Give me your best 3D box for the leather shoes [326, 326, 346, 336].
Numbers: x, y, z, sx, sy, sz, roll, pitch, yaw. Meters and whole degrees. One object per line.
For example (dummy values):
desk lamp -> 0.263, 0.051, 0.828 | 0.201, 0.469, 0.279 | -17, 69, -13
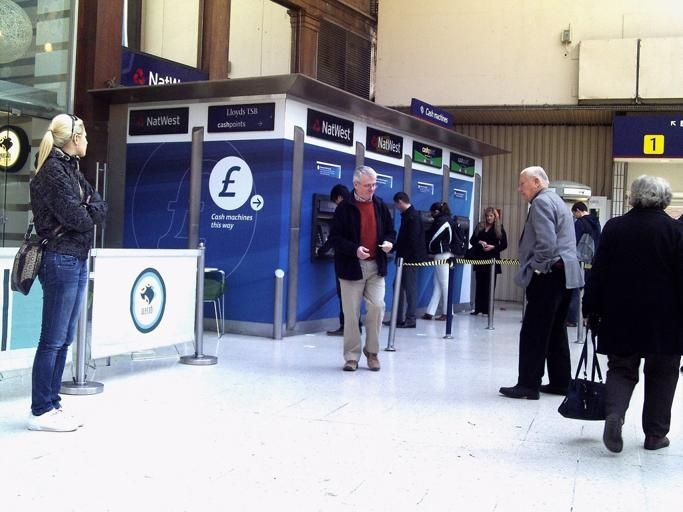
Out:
leather shoes -> -0.056, 1.062, 8.679 | 0.337, 0.154, 0.118 | 3, -7, 8

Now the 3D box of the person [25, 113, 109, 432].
person -> -1.951, 0.104, 4.346 | 0.478, 2.226, 0.400 | 1, 2, -27

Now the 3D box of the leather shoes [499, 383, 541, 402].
leather shoes -> 1.596, 1.215, 5.466 | 0.348, 0.160, 0.141 | 6, -3, 16

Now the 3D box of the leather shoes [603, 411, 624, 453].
leather shoes -> 1.792, 1.156, 4.041 | 0.109, 0.276, 0.109 | -5, -15, 16

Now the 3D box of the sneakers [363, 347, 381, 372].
sneakers -> 0.349, 1.104, 6.479 | 0.101, 0.309, 0.127 | 5, -41, -46

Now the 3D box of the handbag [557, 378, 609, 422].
handbag -> 1.772, 0.995, 4.429 | 0.366, 0.364, 0.163 | 14, -1, -30

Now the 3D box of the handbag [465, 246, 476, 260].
handbag -> 2.419, -0.068, 11.553 | 0.211, 0.221, 0.400 | 5, 9, 16

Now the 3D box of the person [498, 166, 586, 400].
person -> 1.818, 0.242, 5.435 | 0.586, 2.068, 0.537 | 0, 2, -33

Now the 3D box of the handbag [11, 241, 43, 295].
handbag -> -2.247, 0.084, 4.351 | 0.125, 0.322, 0.287 | 13, -45, -26

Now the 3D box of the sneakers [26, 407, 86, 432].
sneakers -> -2.020, 1.157, 4.322 | 0.249, 0.106, 0.194 | 2, 2, 0

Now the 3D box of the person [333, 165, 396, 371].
person -> 0.221, 0.129, 6.336 | 0.612, 2.128, 0.614 | 2, 2, 9
